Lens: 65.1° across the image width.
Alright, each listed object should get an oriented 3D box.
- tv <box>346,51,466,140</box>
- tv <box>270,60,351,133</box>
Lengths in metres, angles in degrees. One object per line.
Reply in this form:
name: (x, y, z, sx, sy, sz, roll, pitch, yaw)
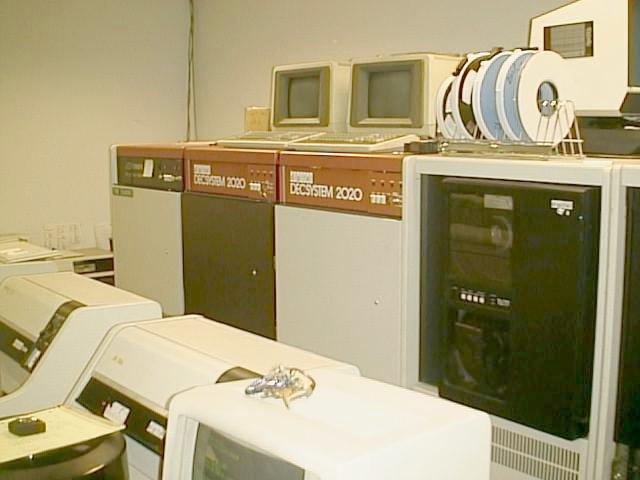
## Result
tv: (0.468, -0.791, 2.744, 0.511, 0.418, 0.389, 12, 22, 41)
tv: (-0.018, -0.871, 3.105, 0.468, 0.421, 0.351, 8, 14, 36)
